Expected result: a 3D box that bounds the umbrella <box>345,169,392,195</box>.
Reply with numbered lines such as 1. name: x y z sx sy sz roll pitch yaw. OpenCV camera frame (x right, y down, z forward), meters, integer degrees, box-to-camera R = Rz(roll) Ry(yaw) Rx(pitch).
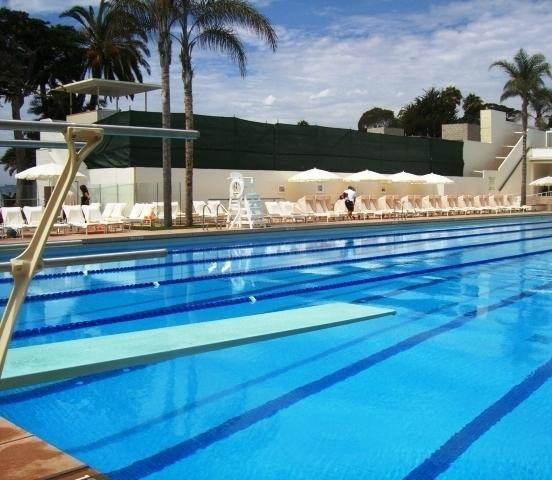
1. umbrella: 4.586 -2.857 23.852 1.878 1.196 1.758 -1 8 -4
